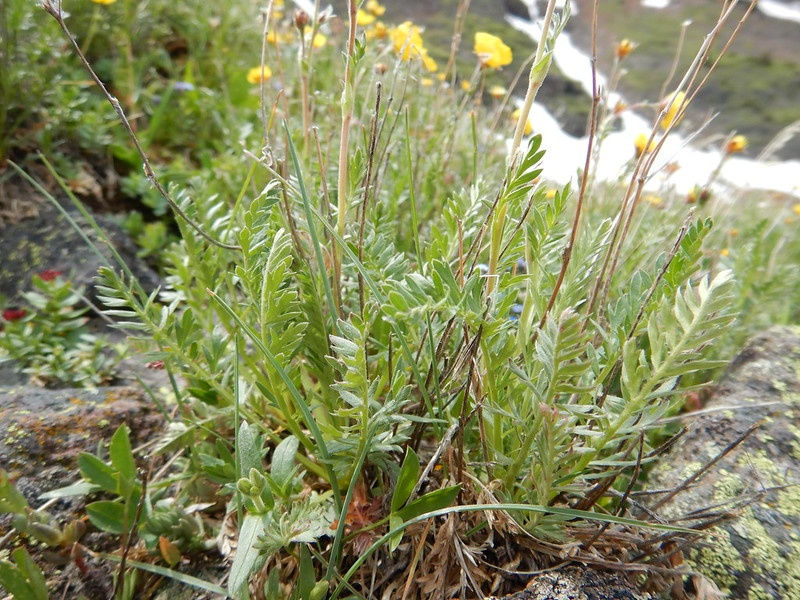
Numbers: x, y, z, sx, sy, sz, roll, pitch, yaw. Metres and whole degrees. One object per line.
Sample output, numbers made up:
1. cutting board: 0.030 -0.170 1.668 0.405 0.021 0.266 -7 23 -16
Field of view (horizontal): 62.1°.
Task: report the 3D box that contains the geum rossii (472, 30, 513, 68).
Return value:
1. geum rossii: 0.308 -0.813 2.204 0.104 0.111 0.275 26 29 14
